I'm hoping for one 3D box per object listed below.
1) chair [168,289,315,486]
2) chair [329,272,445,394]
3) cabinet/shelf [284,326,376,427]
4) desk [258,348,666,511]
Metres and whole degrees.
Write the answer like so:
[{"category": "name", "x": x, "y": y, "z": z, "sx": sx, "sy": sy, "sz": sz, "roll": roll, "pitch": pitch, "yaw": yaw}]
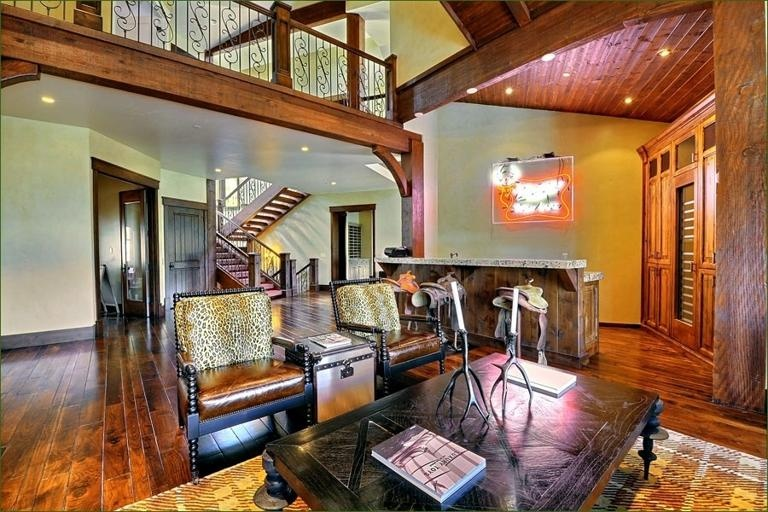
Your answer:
[{"category": "chair", "x": -1.496, "y": 1.195, "z": 4.939, "sx": 1.453, "sy": 1.541, "sz": 1.388, "roll": -1, "pitch": 6, "yaw": -12}, {"category": "chair", "x": 0.021, "y": 0.909, "z": 5.773, "sx": 1.230, "sy": 1.224, "sz": 1.024, "roll": 3, "pitch": 7, "yaw": 44}, {"category": "cabinet/shelf", "x": -0.535, "y": 1.244, "z": 5.227, "sx": 0.844, "sy": 0.825, "sz": 0.824, "roll": -3, "pitch": 3, "yaw": -38}, {"category": "desk", "x": 0.751, "y": 1.674, "z": 4.117, "sx": 3.346, "sy": 0.694, "sz": 0.975, "roll": -4, "pitch": 1, "yaw": -4}]
